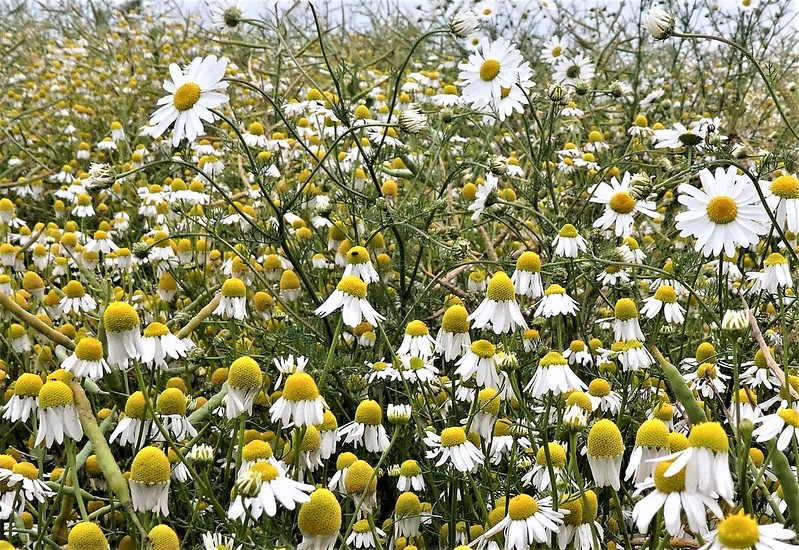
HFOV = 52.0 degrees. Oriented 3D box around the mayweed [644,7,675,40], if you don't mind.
[{"bbox_3d":[1.364,-1.298,4.246,0.144,0.172,0.256,5,21,18],"label":"mayweed"}]
